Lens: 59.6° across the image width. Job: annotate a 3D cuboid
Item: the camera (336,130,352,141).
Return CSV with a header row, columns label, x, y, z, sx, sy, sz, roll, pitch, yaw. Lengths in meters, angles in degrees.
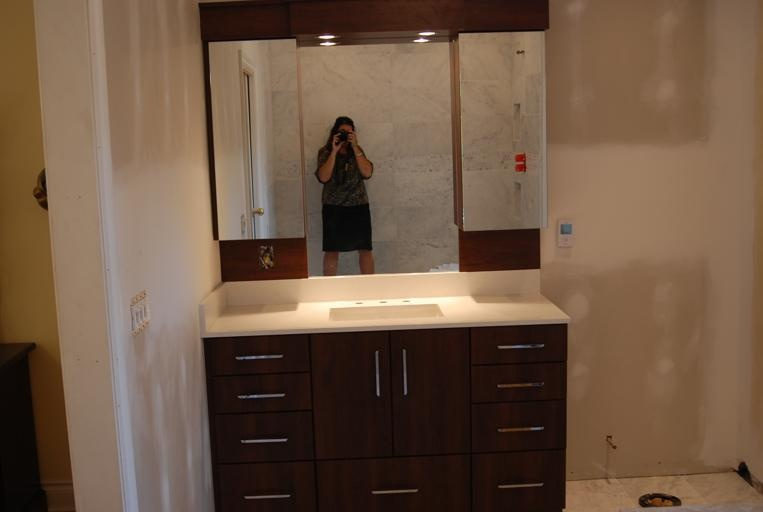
label,x,y,z,sx,sy,sz,roll,pitch,yaw
camera,-0.228,-0.710,3.910,0.047,0.071,0.016,1,12,-5
